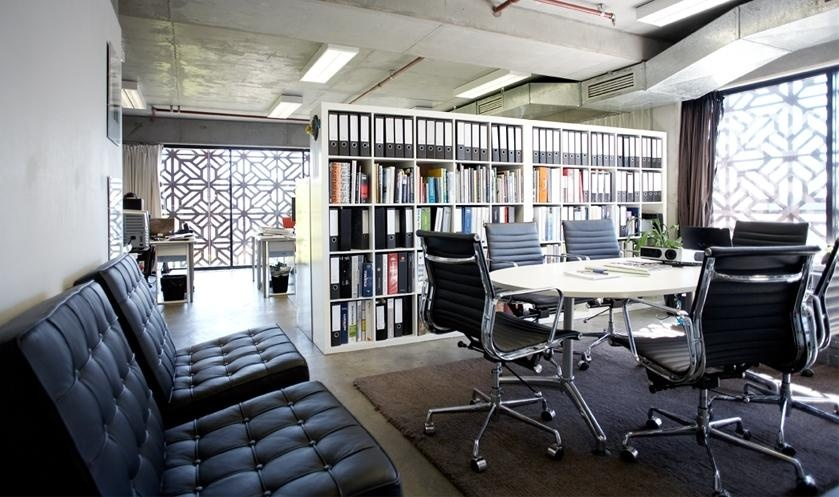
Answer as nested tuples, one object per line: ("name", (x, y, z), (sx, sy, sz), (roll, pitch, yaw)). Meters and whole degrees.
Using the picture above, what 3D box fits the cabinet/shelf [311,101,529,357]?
("cabinet/shelf", (-0.105, -0.160, 5.293), (3.081, 2.481, 0.906), (4, -4, -35))

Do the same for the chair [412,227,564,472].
("chair", (0.559, 0.626, 3.809), (1.135, 1.545, 1.007), (-3, 15, 0))

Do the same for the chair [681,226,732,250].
("chair", (2.687, -0.103, 4.939), (0.383, 0.286, 0.484), (-3, 2, -11))

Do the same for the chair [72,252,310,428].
("chair", (-1.630, 0.610, 3.758), (0.969, 1.095, 1.474), (-32, 10, -10))

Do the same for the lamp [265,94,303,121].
("lamp", (-2.425, -2.567, 9.501), (0.507, 0.329, 1.494), (-7, 14, -18))

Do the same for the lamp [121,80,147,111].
("lamp", (-4.420, -2.379, 8.121), (0.275, 0.345, 1.359), (-10, 15, -26))

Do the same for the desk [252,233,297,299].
("desk", (-2.261, 0.273, 8.204), (0.420, 0.624, 1.069), (-2, 4, -20))
